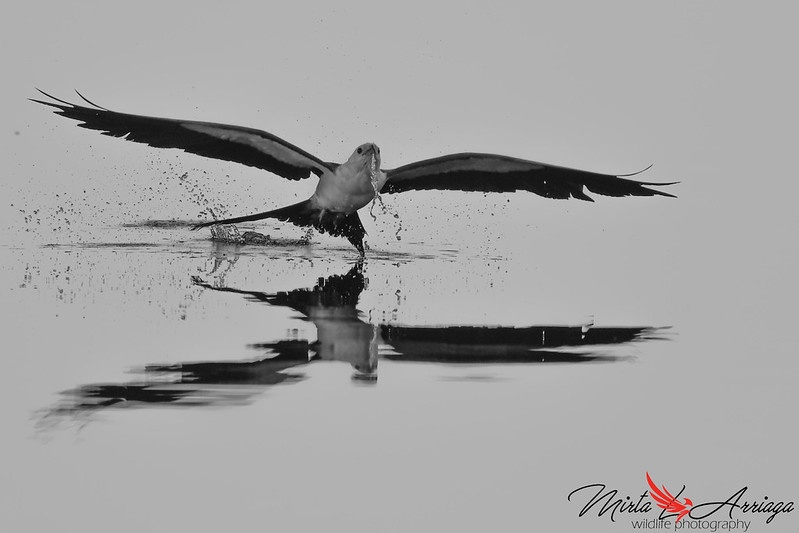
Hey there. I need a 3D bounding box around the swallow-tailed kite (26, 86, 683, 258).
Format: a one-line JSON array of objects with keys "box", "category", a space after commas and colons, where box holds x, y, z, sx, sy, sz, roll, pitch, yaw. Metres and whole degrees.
[{"box": [-0.376, -0.480, 12.662, 3.903, 0.652, 0.746, 8, -50, -4], "category": "swallow-tailed kite"}]
